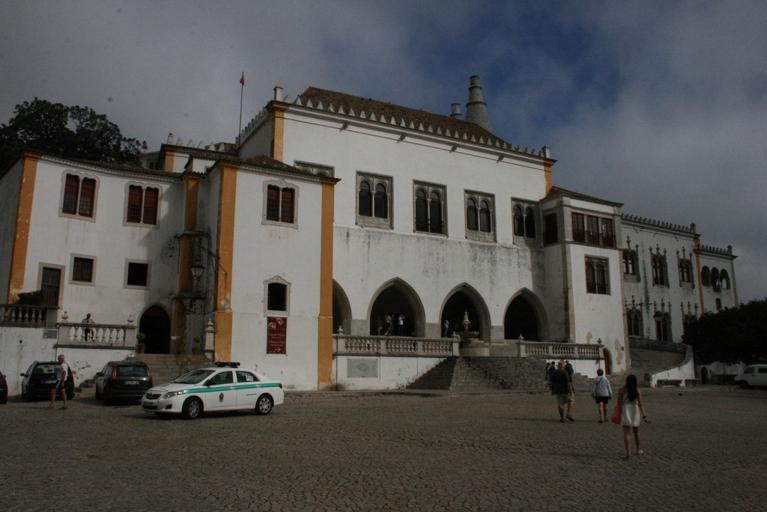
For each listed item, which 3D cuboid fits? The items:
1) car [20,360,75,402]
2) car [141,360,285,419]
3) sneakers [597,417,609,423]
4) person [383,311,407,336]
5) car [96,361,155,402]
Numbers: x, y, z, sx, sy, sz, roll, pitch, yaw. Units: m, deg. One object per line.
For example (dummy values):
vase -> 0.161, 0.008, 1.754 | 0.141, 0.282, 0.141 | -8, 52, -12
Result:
car -> -14.254, 5.055, 25.260 | 1.773, 1.424, 2.794 | 1, -1, -32
car -> -5.656, 4.639, 20.494 | 4.159, 1.661, 0.896 | 8, -14, -31
sneakers -> 7.297, 5.521, 20.139 | 0.201, 0.259, 0.626 | -6, -23, 8
person -> 0.710, 4.845, 42.751 | 1.215, 1.339, 0.794 | 10, -37, -18
car -> -10.435, 5.000, 24.126 | 1.499, 1.314, 2.646 | 3, -5, -31
